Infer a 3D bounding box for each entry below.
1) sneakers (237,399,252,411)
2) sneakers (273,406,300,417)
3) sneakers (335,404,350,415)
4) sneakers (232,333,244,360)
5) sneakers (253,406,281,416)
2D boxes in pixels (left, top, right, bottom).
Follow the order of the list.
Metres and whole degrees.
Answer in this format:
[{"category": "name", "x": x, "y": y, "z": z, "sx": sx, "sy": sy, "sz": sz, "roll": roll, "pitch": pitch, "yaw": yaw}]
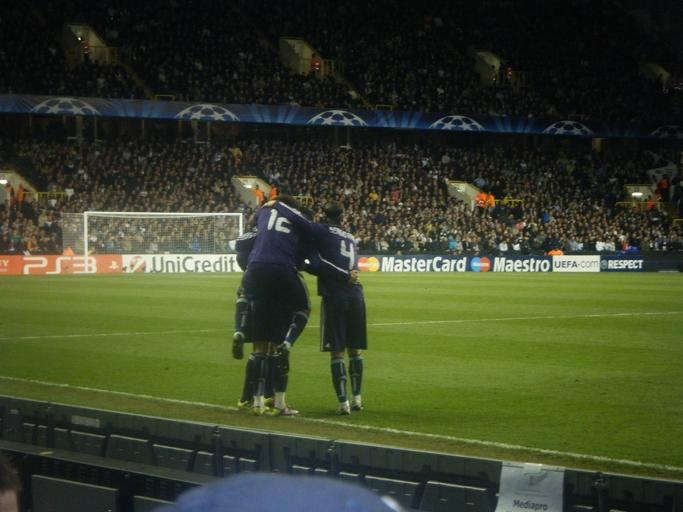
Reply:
[{"category": "sneakers", "x": -1.791, "y": 2.754, "z": 17.420, "sx": 0.253, "sy": 0.098, "sz": 0.144, "roll": -6, "pitch": 10, "yaw": -28}, {"category": "sneakers", "x": -1.025, "y": 2.841, "z": 17.257, "sx": 0.467, "sy": 0.199, "sz": 0.172, "roll": 0, "pitch": 1, "yaw": -7}, {"category": "sneakers", "x": 0.023, "y": 2.824, "z": 17.296, "sx": 0.212, "sy": 0.247, "sz": 0.575, "roll": 2, "pitch": 0, "yaw": -1}, {"category": "sneakers", "x": -1.851, "y": 1.628, "z": 16.917, "sx": 0.169, "sy": 0.502, "sz": 0.212, "roll": 1, "pitch": -6, "yaw": -2}, {"category": "sneakers", "x": -1.365, "y": 2.844, "z": 17.252, "sx": 0.496, "sy": 0.200, "sz": 0.183, "roll": -1, "pitch": 1, "yaw": 0}]
